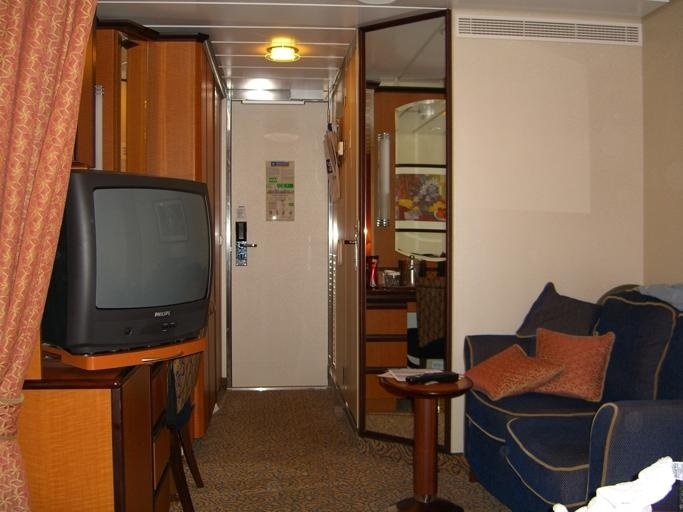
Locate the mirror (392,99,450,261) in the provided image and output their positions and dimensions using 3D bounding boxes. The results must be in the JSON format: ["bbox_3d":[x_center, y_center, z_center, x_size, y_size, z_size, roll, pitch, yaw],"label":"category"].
[{"bbox_3d":[0.540,-0.490,3.945,0.409,1.129,0.030,-1,21,0],"label":"mirror"}]

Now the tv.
[{"bbox_3d":[-0.949,0.025,2.599,0.464,0.710,0.769,1,1,27],"label":"tv"}]

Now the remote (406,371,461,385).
[{"bbox_3d":[0.515,0.642,3.192,0.258,0.062,0.102,0,-3,-10],"label":"remote"}]

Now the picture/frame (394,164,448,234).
[{"bbox_3d":[0.559,-0.384,3.919,0.461,0.537,0.057,1,0,12],"label":"picture/frame"}]
